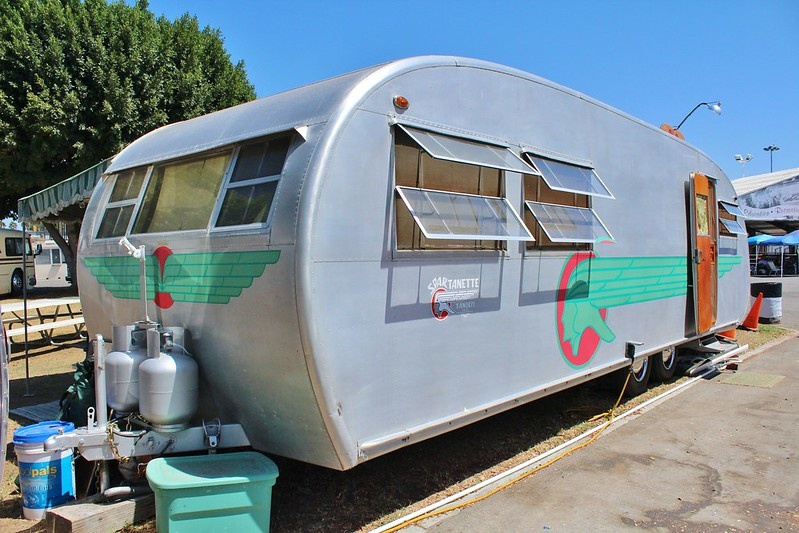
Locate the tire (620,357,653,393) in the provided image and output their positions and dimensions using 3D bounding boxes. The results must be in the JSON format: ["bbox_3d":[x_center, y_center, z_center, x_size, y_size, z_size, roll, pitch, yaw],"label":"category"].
[{"bbox_3d":[3.588,1.634,8.376,0.207,0.692,0.651,4,12,40],"label":"tire"}]

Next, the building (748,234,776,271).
[{"bbox_3d":[21.954,-0.772,33.261,1.874,2.052,2.274,0,-2,26],"label":"building"}]

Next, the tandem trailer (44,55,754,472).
[{"bbox_3d":[0.993,-0.319,7.387,7.401,3.190,4.206,-6,6,-43],"label":"tandem trailer"}]
